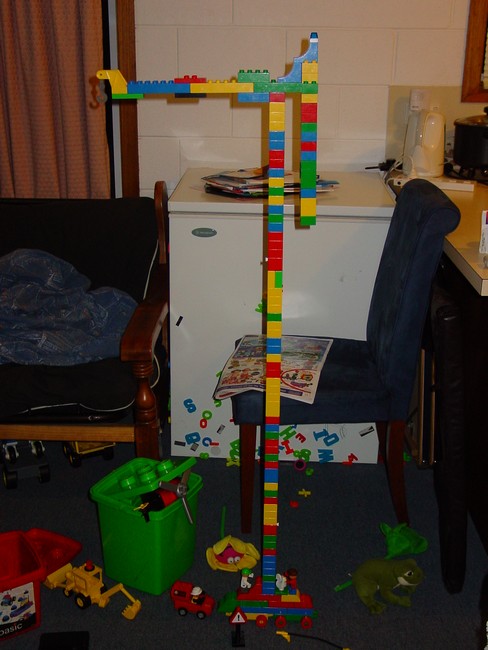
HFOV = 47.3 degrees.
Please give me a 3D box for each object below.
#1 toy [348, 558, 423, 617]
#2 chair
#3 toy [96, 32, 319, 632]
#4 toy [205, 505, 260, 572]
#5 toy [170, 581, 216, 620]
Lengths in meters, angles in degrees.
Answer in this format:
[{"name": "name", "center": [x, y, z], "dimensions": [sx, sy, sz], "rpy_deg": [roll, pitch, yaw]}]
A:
[{"name": "toy", "center": [0.374, 0.664, 1.437], "dimensions": [0.181, 0.083, 0.125], "rpy_deg": [-7, 23, -15]}, {"name": "chair", "center": [0.280, 0.072, 1.692], "dimensions": [0.672, 0.893, 0.602], "rpy_deg": [4, 16, 20]}, {"name": "toy", "center": [-0.003, 0.016, 1.472], "dimensions": [0.386, 1.325, 0.851], "rpy_deg": [1, 22, 6]}, {"name": "toy", "center": [-0.032, 0.622, 1.603], "dimensions": [0.111, 0.143, 0.050], "rpy_deg": [-2, -2, 8]}, {"name": "toy", "center": [-0.118, 0.683, 1.393], "dimensions": [0.107, 0.070, 0.059], "rpy_deg": [3, 36, 7]}]
